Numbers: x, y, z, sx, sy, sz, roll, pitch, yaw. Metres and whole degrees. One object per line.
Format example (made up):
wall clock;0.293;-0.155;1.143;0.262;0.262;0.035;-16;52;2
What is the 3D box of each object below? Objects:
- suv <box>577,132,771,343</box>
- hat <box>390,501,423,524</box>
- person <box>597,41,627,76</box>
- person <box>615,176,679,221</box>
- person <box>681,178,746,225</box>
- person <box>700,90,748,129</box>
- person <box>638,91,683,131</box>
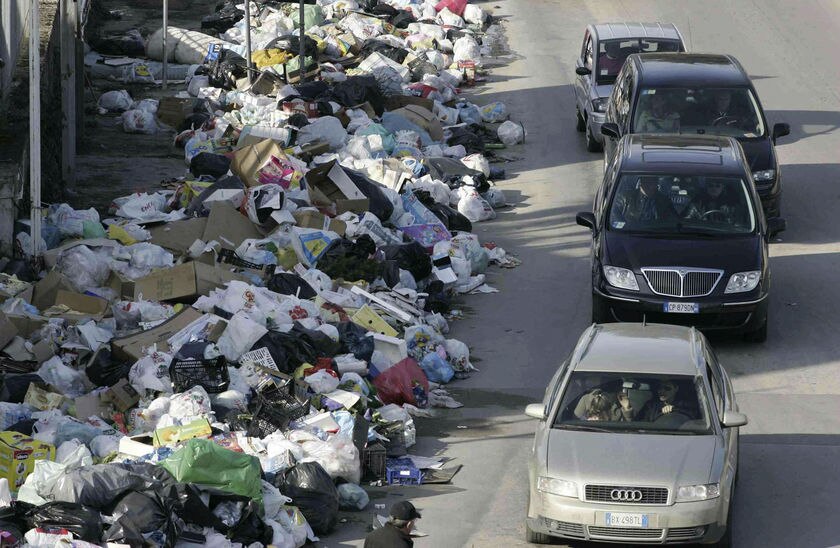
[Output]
suv;4.044;-0.444;20.754;2.489;2.429;1.791;1;12;13
hat;-0.191;2.734;15.598;0.287;0.204;0.228;-3;11;-6
person;3.998;-4.445;28.255;0.545;0.736;0.253;5;-24;6
person;3.499;-1.157;21.004;0.846;0.769;0.216;3;-24;7
person;4.590;-1.124;20.898;0.816;0.781;0.294;3;-11;5
person;5.480;-2.902;23.844;0.802;0.698;0.344;-2;12;-2
person;4.201;-2.863;23.836;0.723;0.691;0.211;1;-27;4
